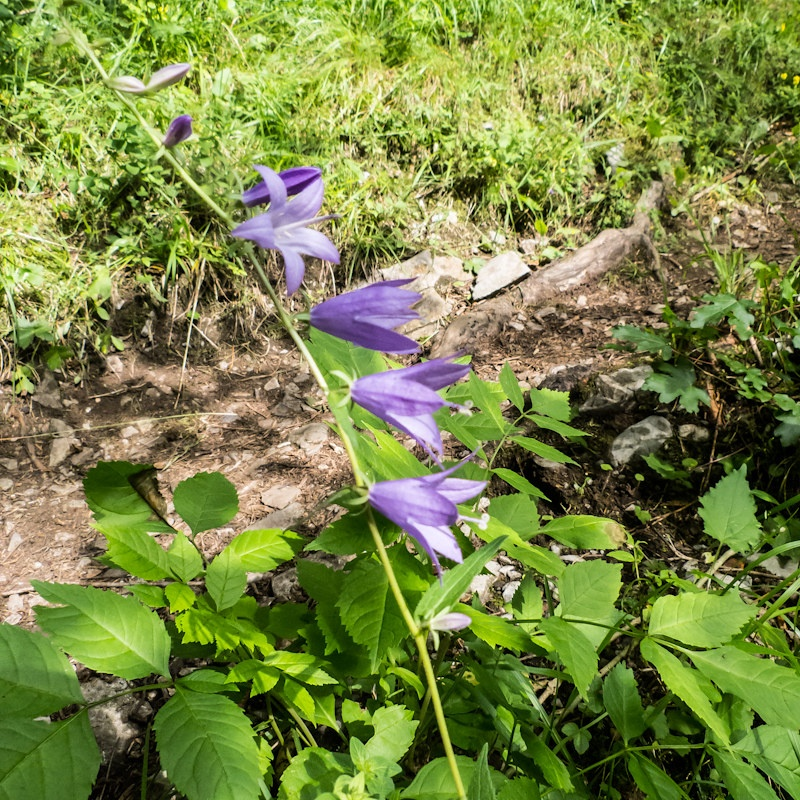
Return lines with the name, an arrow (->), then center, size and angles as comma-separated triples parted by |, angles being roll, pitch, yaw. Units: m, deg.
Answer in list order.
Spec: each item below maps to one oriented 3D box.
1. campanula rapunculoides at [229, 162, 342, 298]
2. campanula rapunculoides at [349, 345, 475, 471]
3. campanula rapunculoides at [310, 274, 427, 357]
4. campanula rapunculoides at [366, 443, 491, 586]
campanula rapunculoides -> -0.270, -0.409, 1.764 | 0.217, 0.269, 0.312 | -8, 29, -5
campanula rapunculoides -> 0.015, 0.016, 1.713 | 0.109, 0.225, 0.236 | -28, -6, -8
campanula rapunculoides -> -0.090, -0.203, 1.767 | 0.275, 0.148, 0.097 | -6, 70, -6
campanula rapunculoides -> 0.084, 0.237, 1.714 | 0.183, 0.240, 0.234 | 23, 39, 38
